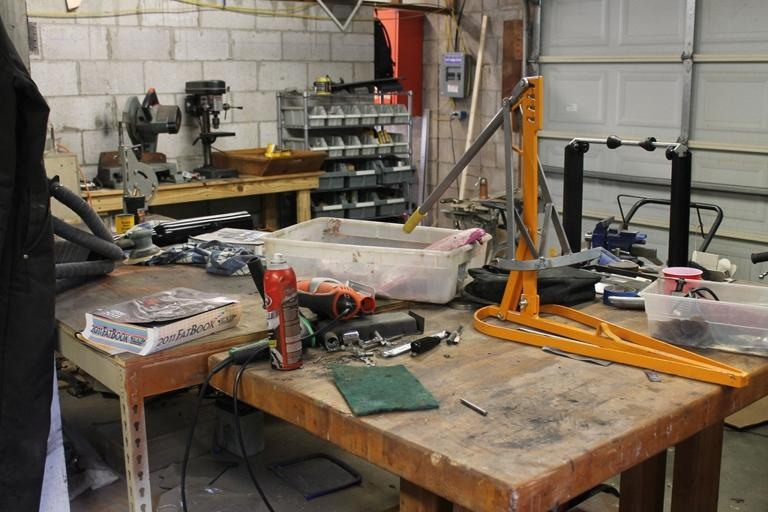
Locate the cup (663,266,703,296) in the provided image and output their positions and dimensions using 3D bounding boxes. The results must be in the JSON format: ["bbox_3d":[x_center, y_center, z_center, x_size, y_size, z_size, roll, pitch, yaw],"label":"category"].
[{"bbox_3d":[1.049,0.080,2.073,0.112,0.078,0.108,1,8,0],"label":"cup"}]

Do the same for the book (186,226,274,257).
[{"bbox_3d":[-0.715,-0.082,2.837,0.240,0.060,0.237,7,12,25],"label":"book"}]

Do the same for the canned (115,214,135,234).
[{"bbox_3d":[-1.365,-0.171,3.063,0.114,0.106,0.108,2,10,-6],"label":"canned"}]

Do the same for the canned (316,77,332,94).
[{"bbox_3d":[-0.593,-1.666,5.752,0.189,0.151,0.144,8,11,36],"label":"canned"}]

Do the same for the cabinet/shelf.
[{"bbox_3d":[-0.430,-1.046,6.059,0.546,1.460,1.682,28,28,36],"label":"cabinet/shelf"}]
